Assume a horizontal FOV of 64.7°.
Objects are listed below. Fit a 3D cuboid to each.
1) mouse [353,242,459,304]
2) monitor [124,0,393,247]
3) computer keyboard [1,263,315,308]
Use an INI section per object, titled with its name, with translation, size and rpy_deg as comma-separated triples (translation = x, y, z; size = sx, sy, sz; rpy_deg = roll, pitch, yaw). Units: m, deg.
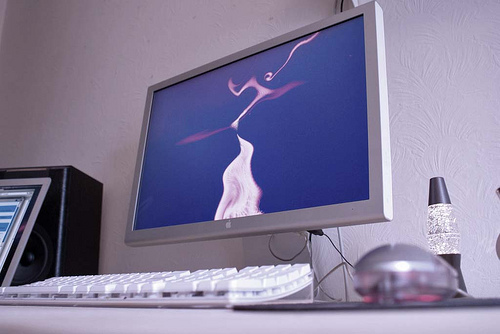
[mouse]
translation = 0.212, 0.143, 0.545
size = 0.136, 0.083, 0.173
rpy_deg = -8, -11, 35
[monitor]
translation = 0.034, -0.100, 0.991
size = 0.832, 0.560, 0.093
rpy_deg = -15, -30, 29
[computer keyboard]
translation = -0.202, 0.217, 0.732
size = 0.619, 0.085, 0.187
rpy_deg = -3, -12, 20
